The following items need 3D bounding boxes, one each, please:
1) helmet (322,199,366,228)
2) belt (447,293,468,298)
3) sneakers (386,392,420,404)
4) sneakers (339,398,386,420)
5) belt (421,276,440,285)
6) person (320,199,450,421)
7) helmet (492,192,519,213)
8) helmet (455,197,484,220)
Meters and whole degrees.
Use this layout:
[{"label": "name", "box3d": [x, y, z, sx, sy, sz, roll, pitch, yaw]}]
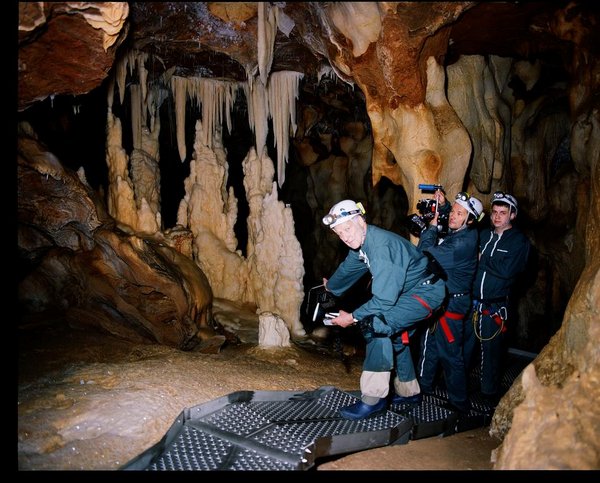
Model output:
[{"label": "helmet", "box3d": [0.419, -0.252, 5.517, 0.342, 0.187, 0.253, -24, 6, -25]}, {"label": "belt", "box3d": [1.702, 0.589, 6.150, 0.229, 0.057, 0.045, 10, -1, -13]}, {"label": "sneakers", "box3d": [1.070, 1.624, 5.945, 0.343, 0.158, 0.123, -8, -6, 16]}, {"label": "sneakers", "box3d": [0.604, 1.611, 5.495, 0.414, 0.165, 0.167, 3, -6, -16]}, {"label": "belt", "box3d": [1.286, 0.388, 5.637, 0.182, 0.062, 0.073, -31, -34, -9]}, {"label": "person", "box3d": [0.790, 0.701, 5.739, 1.298, 2.030, 0.742, 9, -1, -6]}, {"label": "helmet", "box3d": [2.365, -0.489, 6.568, 0.266, 0.164, 0.210, 27, 4, -11]}, {"label": "helmet", "box3d": [1.868, -0.388, 6.238, 0.291, 0.174, 0.239, 32, 26, -8]}]
